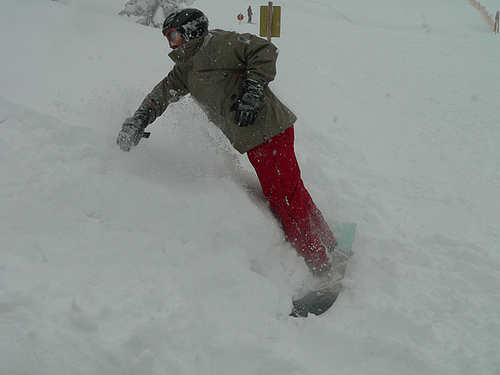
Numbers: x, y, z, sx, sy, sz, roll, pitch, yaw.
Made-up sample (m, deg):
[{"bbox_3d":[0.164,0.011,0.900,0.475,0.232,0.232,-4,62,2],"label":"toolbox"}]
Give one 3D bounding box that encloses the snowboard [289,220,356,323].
[{"bbox_3d":[1.233,1.492,10.881,0.593,0.422,1.718,25,52,13],"label":"snowboard"}]
